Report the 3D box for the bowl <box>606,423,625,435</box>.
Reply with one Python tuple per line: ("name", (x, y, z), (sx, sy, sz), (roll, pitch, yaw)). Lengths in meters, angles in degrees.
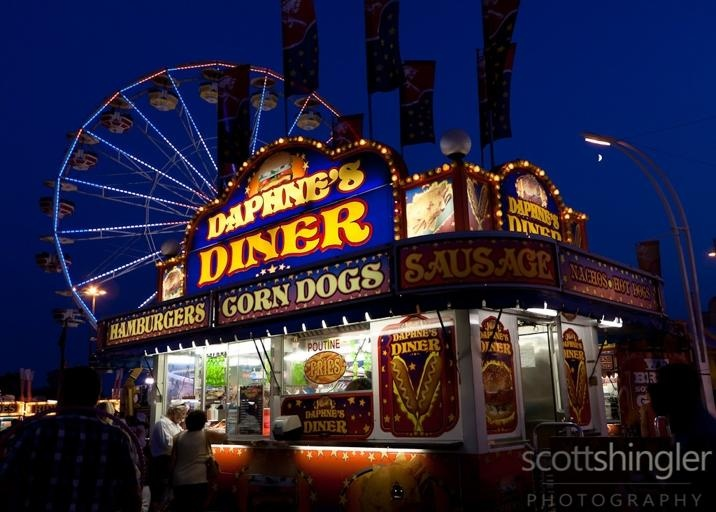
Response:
("bowl", (7.304, 4.855, 18.139), (0.344, 0.314, 1.190), (-8, -18, 19))
